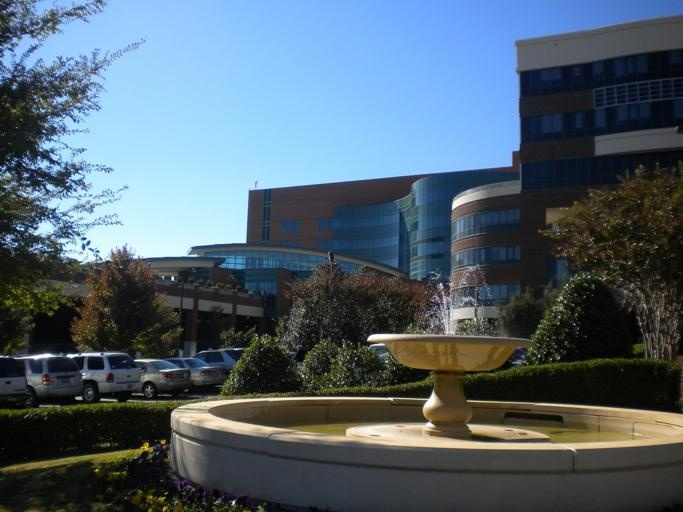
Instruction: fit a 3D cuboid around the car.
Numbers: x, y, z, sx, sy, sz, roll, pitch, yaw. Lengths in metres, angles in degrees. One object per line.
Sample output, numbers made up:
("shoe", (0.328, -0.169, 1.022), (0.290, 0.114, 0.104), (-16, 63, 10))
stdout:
("car", (-7.602, 4.374, 26.447), (1.740, 1.934, 8.126), (-4, -4, 44))
